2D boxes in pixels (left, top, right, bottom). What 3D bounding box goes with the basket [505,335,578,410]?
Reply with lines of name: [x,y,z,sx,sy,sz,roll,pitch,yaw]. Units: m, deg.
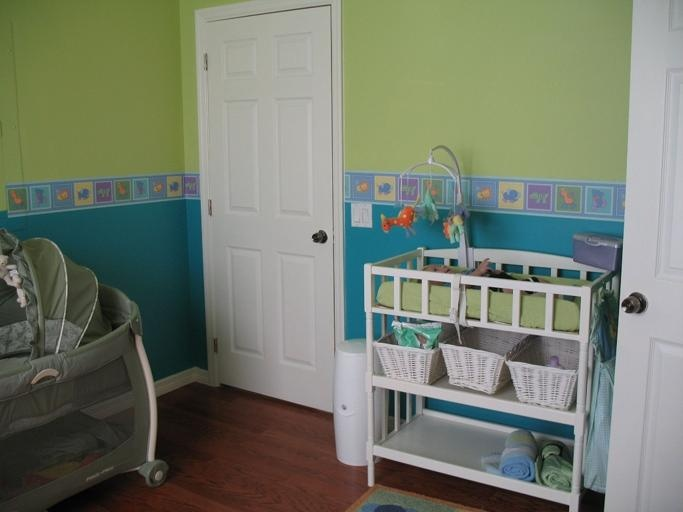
basket: [0.895,0.496,2.289,0.245,0.182,0.344,0,-1,27]

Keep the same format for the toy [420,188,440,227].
toy: [0.454,-0.254,2.674,0.083,0.169,0.103,-36,47,-22]

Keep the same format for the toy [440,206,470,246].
toy: [0.559,-0.136,2.538,0.116,0.081,0.159,-33,10,0]

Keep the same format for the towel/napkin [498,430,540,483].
towel/napkin: [0.806,0.893,2.377,0.112,0.081,0.207,-5,17,19]

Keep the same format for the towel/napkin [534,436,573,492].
towel/napkin: [0.936,0.910,2.323,0.120,0.060,0.160,2,9,17]

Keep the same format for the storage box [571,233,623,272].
storage box: [1.124,-0.031,2.313,0.145,0.151,0.213,-5,12,-42]

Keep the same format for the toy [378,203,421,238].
toy: [0.306,-0.180,2.711,0.179,0.182,0.322,0,15,7]

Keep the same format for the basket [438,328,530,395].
basket: [0.654,0.465,2.434,0.251,0.169,0.355,0,1,31]

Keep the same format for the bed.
bed: [0.692,0.549,2.338,0.993,1.118,0.590,4,9,33]
